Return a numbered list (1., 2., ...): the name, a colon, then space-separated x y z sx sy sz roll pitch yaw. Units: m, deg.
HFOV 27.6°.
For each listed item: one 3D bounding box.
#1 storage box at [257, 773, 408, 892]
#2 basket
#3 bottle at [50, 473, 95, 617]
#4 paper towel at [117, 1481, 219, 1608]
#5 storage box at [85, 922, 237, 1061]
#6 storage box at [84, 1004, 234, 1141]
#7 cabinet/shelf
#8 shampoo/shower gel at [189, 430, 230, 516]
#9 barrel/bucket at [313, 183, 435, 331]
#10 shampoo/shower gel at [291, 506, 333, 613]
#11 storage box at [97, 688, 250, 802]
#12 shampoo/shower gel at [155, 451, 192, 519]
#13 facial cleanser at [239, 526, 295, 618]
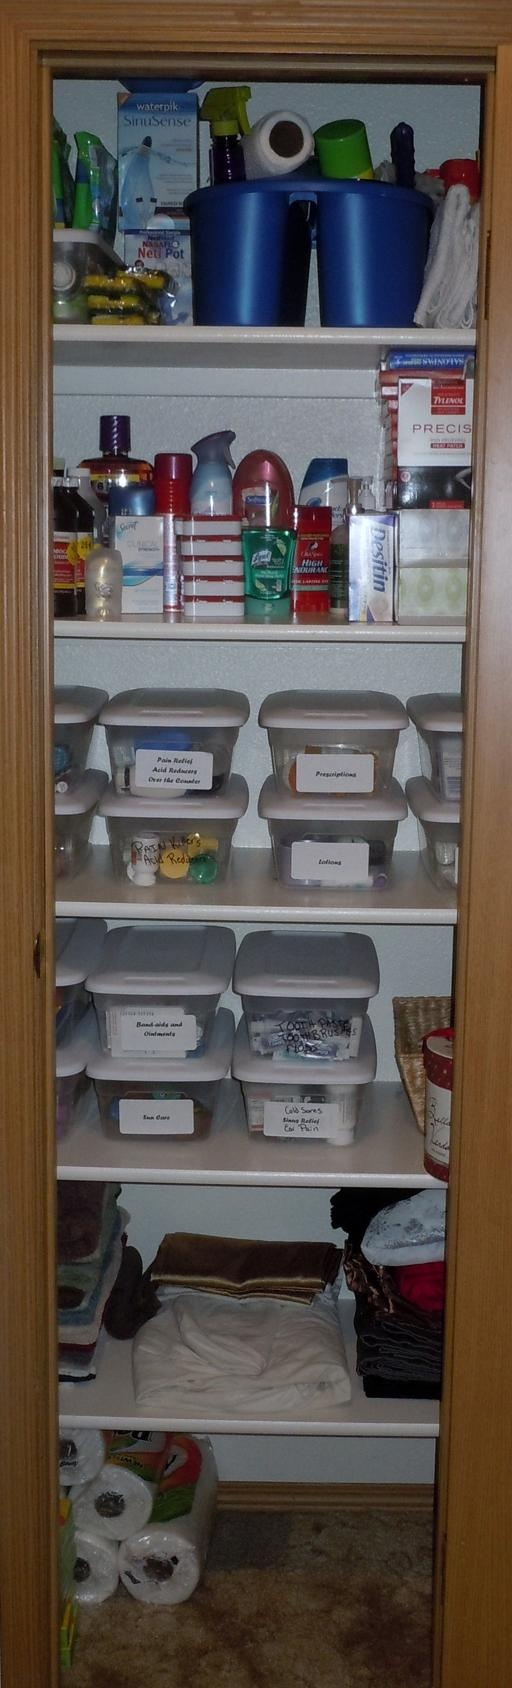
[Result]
1. storage box: 0.127 -0.063 1.552 0.160 0.205 0.155 -11 19 -34
2. basket: 0.287 0.374 1.759 0.081 0.114 0.173 0 23 4
3. bottle: -0.261 -0.422 1.488 0.055 0.200 0.073 0 3 -14
4. paper towel: -0.150 1.153 1.773 0.095 0.179 0.160 1 12 2
5. storage box: -0.144 0.200 1.710 0.197 0.202 0.252 1 22 1
6. storage box: -0.143 0.355 1.639 0.174 0.173 0.234 0 22 0
7. cabinet/shelf: -0.010 0.077 1.653 0.776 2.492 0.319 1 2 8
8. shampoo/shower gel: -0.066 -0.543 1.535 0.061 0.160 0.152 1 4 -1
9. barrel/bucket: 0.164 -0.790 1.420 0.168 0.182 0.113 1 3 0
10. shampoo/shower gel: 0.082 -0.424 1.562 0.056 0.150 0.067 1 3 2
11. storage box: -0.126 -0.216 1.606 0.202 0.192 0.246 1 21 1
12. shampoo/shower gel: -0.123 -0.522 1.531 0.054 0.095 0.044 1 3 -5
13. facial cleanser: 0.019 -0.393 1.526 0.091 0.121 0.076 0 3 -17
